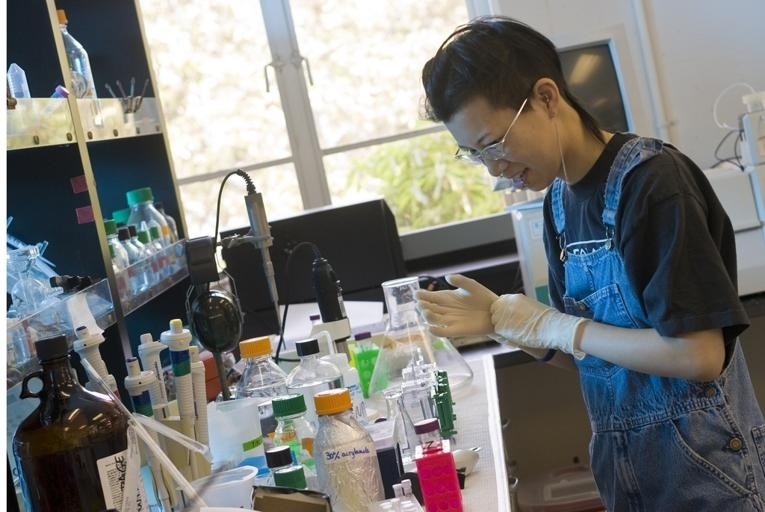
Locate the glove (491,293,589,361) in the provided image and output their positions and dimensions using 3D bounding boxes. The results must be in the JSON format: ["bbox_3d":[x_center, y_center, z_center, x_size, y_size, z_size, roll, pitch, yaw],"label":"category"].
[{"bbox_3d":[0.511,0.215,2.202,0.261,0.175,0.109,12,-29,45],"label":"glove"}]

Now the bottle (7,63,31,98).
[{"bbox_3d":[-1.198,-0.572,2.199,0.053,0.107,0.035,-8,-1,-31],"label":"bottle"}]

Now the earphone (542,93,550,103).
[{"bbox_3d":[0.487,-0.468,1.999,0.015,0.024,0.005,-2,2,-8],"label":"earphone"}]

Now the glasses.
[{"bbox_3d":[0.331,-0.342,2.046,0.049,0.182,0.169,34,-14,-5],"label":"glasses"}]

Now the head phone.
[{"bbox_3d":[-0.566,0.128,2.221,0.160,0.362,0.207,-9,-1,-16],"label":"head phone"}]
